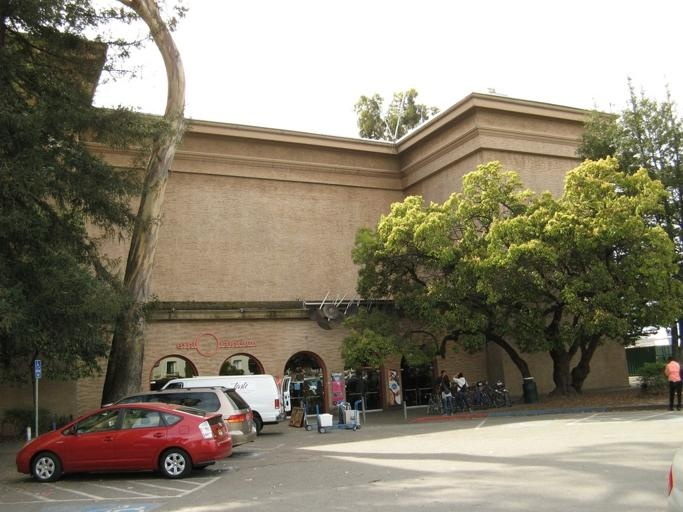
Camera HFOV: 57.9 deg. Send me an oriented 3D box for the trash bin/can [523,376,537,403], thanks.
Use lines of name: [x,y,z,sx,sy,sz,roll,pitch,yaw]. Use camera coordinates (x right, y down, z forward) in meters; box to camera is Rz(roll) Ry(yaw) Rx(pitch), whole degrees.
trash bin/can: [9.351,6.666,30.714,0.799,1.289,0.704,-11,-17,33]

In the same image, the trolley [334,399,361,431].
trolley: [0.278,6.627,25.491,1.007,1.160,1.603,-1,-15,0]

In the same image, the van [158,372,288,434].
van: [-4.902,6.224,25.714,4.812,2.095,2.432,2,-9,-3]
